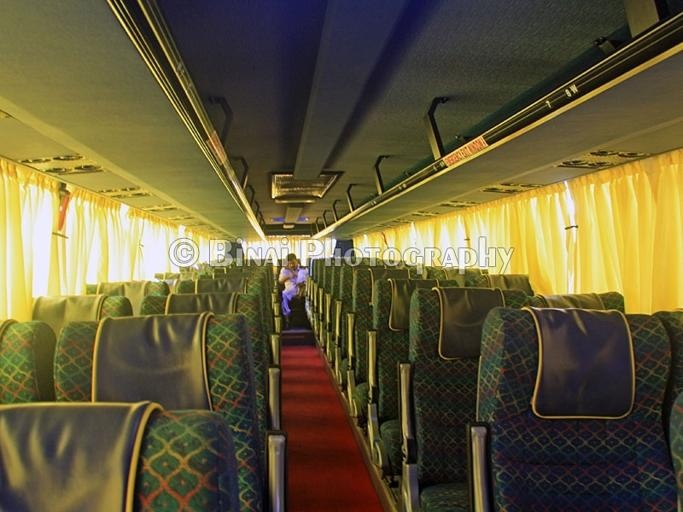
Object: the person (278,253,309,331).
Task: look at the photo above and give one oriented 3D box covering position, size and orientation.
[{"bbox_3d":[-0.961,0.718,10.412,0.669,1.557,0.421,-14,23,-39],"label":"person"}]
